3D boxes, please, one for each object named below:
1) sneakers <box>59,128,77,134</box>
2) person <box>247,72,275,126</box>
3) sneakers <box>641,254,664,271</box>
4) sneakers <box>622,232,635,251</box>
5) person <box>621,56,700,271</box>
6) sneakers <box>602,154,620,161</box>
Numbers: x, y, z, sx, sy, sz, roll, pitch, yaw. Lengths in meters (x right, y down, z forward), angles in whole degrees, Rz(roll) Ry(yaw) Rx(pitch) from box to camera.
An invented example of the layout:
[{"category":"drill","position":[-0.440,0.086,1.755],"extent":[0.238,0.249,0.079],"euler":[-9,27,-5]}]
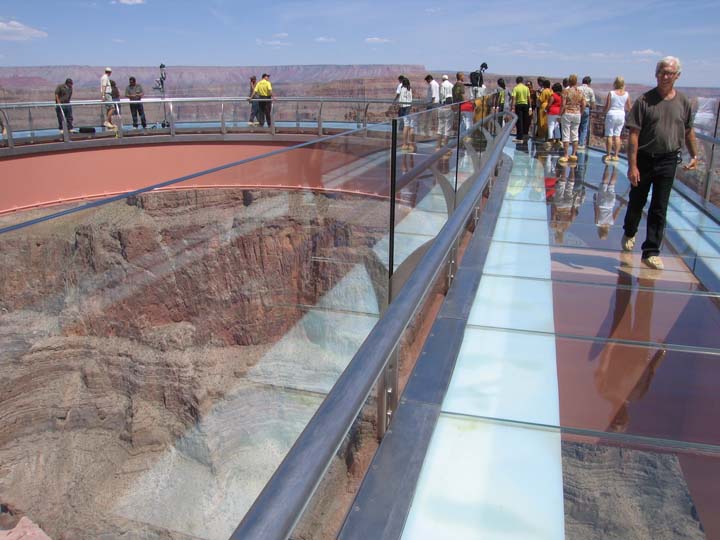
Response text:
[{"category":"sneakers","position":[-8.871,-4.273,13.882],"extent":[0.391,0.258,0.127],"euler":[-16,32,-28]},{"category":"person","position":[-3.698,-6.434,17.305],"extent":[0.851,1.886,1.109],"euler":[-5,21,-10]},{"category":"sneakers","position":[2.786,-0.083,4.337],"extent":[0.106,0.101,0.185],"euler":[-13,17,-10]},{"category":"sneakers","position":[2.839,-0.302,4.816],"extent":[0.070,0.146,0.211],"euler":[4,52,19]},{"category":"person","position":[2.808,-1.042,4.370],"extent":[0.540,1.828,0.868],"euler":[13,25,34]},{"category":"sneakers","position":[5.585,-2.497,10.150],"extent":[0.178,0.142,0.332],"euler":[-2,13,-16]}]
